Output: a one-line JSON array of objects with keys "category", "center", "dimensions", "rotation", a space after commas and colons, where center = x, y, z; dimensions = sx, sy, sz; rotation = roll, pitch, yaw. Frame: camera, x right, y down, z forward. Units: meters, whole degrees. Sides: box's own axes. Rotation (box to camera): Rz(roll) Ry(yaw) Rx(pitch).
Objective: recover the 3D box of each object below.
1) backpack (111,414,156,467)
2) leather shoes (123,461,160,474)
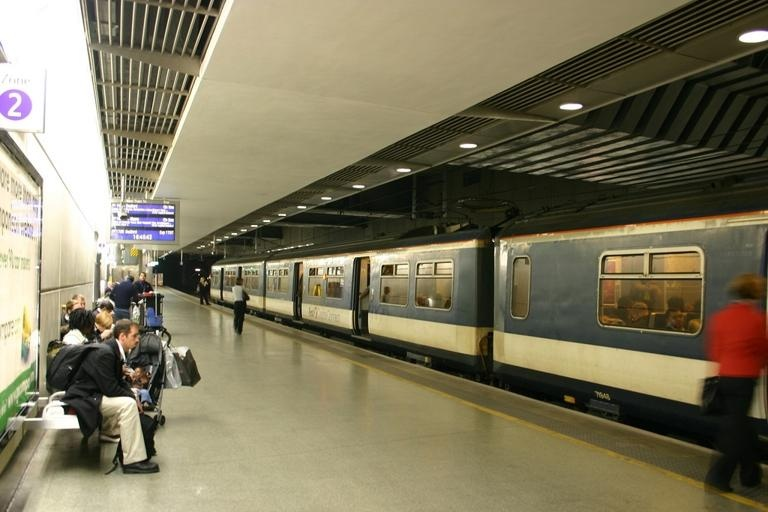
[{"category": "backpack", "center": [-2.939, 2.125, 5.826], "dimensions": [0.406, 0.548, 0.682], "rotation": [13, -15, -33]}, {"category": "leather shoes", "center": [-2.815, 2.428, 5.879], "dimensions": [0.408, 0.153, 0.142], "rotation": [0, -5, -10]}]
